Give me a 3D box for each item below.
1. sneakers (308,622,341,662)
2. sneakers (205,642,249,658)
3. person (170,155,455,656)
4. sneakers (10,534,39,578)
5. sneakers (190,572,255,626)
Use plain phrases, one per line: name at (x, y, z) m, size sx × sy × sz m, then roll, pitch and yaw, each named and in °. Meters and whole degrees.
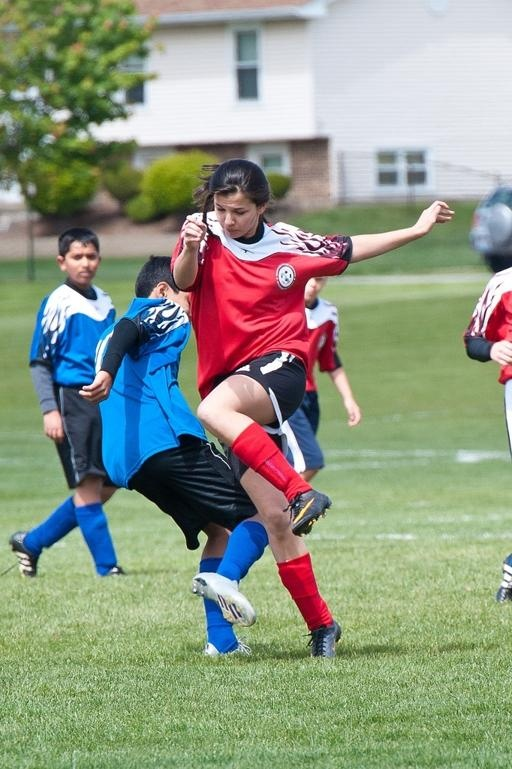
sneakers at (0.236, 0.898, 4.188) m, size 0.058 × 0.069 × 0.166 m, roll -25°, pitch 15°, yaw 24°
sneakers at (-0.104, 0.954, 4.244) m, size 0.164 × 0.059 × 0.053 m, roll -4°, pitch 6°, yaw -6°
person at (0.050, 0.111, 4.060) m, size 0.723 × 1.750 × 0.688 m, roll 2°, pitch 9°, yaw 19°
sneakers at (-1.151, 0.843, 5.846) m, size 0.125 × 0.245 × 0.090 m, roll -12°, pitch 6°, yaw 19°
sneakers at (-0.112, 0.727, 3.956) m, size 0.164 × 0.195 × 0.206 m, roll -3°, pitch 8°, yaw -17°
